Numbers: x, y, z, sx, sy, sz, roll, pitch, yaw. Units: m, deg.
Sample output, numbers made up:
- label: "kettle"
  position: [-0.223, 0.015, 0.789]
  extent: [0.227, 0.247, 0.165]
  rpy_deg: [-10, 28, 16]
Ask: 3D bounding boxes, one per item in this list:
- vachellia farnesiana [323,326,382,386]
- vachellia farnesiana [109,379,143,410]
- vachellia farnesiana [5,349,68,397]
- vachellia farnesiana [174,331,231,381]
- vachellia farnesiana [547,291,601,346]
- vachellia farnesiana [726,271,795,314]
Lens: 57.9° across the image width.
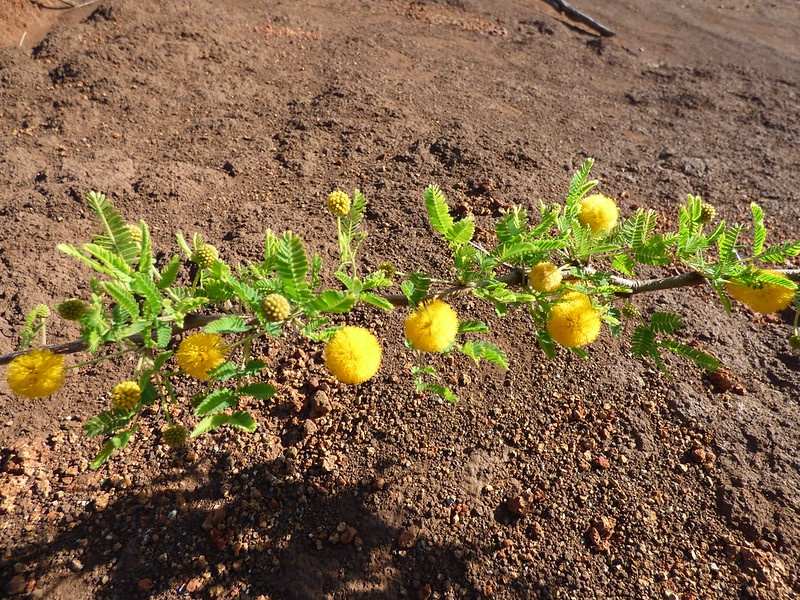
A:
- label: "vachellia farnesiana"
  position: [-0.359, 0.422, 5.437]
  extent: [0.406, 0.263, 0.363]
  rpy_deg: [12, 49, -12]
- label: "vachellia farnesiana"
  position: [-2.146, 0.760, 5.668]
  extent: [0.232, 0.222, 0.219]
  rpy_deg: [19, 52, -20]
- label: "vachellia farnesiana"
  position: [-2.725, 0.560, 5.389]
  extent: [0.380, 0.263, 0.296]
  rpy_deg: [-10, 56, -27]
- label: "vachellia farnesiana"
  position: [-1.542, 0.456, 5.583]
  extent: [0.335, 0.382, 0.312]
  rpy_deg: [27, 48, 2]
- label: "vachellia farnesiana"
  position: [1.377, 0.167, 5.763]
  extent: [0.426, 0.199, 0.409]
  rpy_deg: [12, 87, 0]
- label: "vachellia farnesiana"
  position: [2.801, -0.039, 5.604]
  extent: [0.369, 0.137, 0.367]
  rpy_deg: [-38, 66, -9]
